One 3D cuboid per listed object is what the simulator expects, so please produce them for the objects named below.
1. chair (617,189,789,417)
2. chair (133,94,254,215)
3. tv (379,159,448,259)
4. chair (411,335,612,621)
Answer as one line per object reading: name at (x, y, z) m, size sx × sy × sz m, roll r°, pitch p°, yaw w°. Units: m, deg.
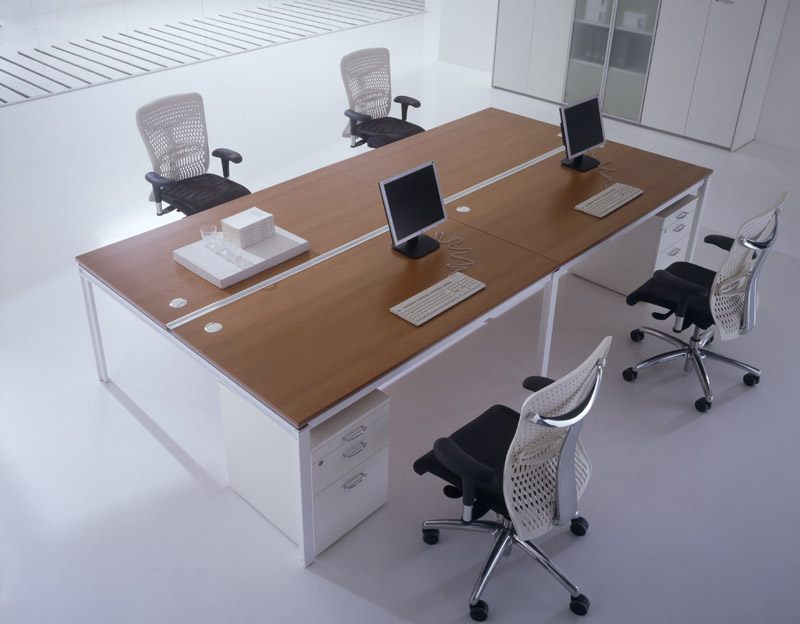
chair at (2.048, -0.007, 4.194) m, size 0.860 × 1.232 × 0.905 m, roll 31°, pitch 52°, yaw 34°
chair at (-1.480, -1.171, 4.969) m, size 0.637 × 1.074 × 0.686 m, roll -10°, pitch 14°, yaw -23°
tv at (0.087, -0.603, 3.742) m, size 0.258 × 0.554 × 0.550 m, roll 30°, pitch 47°, yaw 35°
chair at (0.554, 0.887, 3.077) m, size 0.689 × 0.980 × 0.687 m, roll -32°, pitch 50°, yaw -34°
